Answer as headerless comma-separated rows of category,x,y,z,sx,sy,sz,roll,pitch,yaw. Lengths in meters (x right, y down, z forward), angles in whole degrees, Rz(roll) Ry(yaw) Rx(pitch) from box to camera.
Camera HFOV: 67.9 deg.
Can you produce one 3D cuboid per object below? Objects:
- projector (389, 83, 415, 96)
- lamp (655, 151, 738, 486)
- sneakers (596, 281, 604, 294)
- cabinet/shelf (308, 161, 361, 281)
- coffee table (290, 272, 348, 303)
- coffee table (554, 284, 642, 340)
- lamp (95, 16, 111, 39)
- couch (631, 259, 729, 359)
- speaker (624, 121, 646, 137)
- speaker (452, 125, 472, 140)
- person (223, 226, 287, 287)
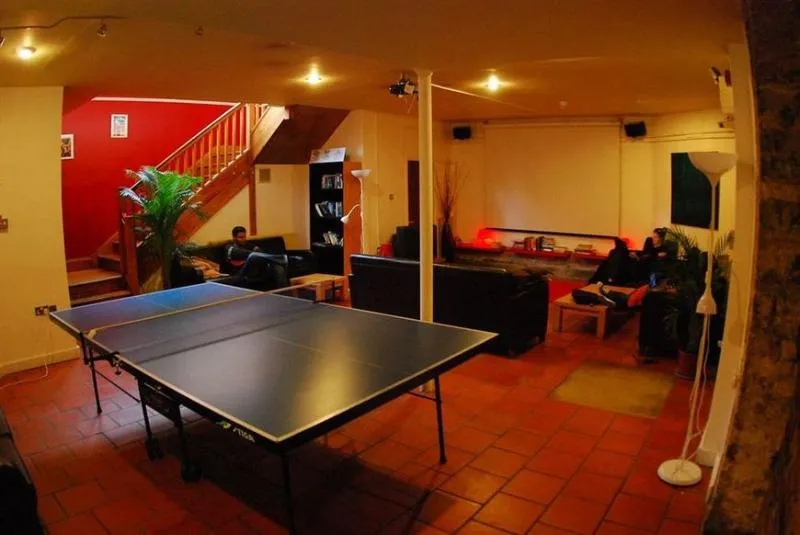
projector,0.032,-2.409,8.037,0.346,0.154,0.546,0,15,1
lamp,2.669,0.556,5.236,0.729,3.191,0.729,4,24,22
sneakers,2.733,0.254,8.162,0.075,0.144,0.291,4,16,17
cabinet/shelf,-1.198,-1.175,11.157,0.696,1.601,0.407,14,36,27
coffee table,-1.241,0.279,9.712,0.642,0.378,0.646,5,9,35
coffee table,2.757,0.489,8.503,0.949,0.763,1.064,11,19,35
lamp,-2.679,-2.159,5.332,0.143,0.206,0.121,6,8,21
couch,3.244,0.555,6.985,1.031,1.379,1.366,3,5,43
speaker,4.248,-2.508,10.825,0.440,0.319,0.256,10,25,38
speaker,1.277,-2.858,12.673,0.479,0.316,0.232,5,16,17
person,-2.348,-0.100,9.734,0.990,1.245,0.533,-11,-1,25
